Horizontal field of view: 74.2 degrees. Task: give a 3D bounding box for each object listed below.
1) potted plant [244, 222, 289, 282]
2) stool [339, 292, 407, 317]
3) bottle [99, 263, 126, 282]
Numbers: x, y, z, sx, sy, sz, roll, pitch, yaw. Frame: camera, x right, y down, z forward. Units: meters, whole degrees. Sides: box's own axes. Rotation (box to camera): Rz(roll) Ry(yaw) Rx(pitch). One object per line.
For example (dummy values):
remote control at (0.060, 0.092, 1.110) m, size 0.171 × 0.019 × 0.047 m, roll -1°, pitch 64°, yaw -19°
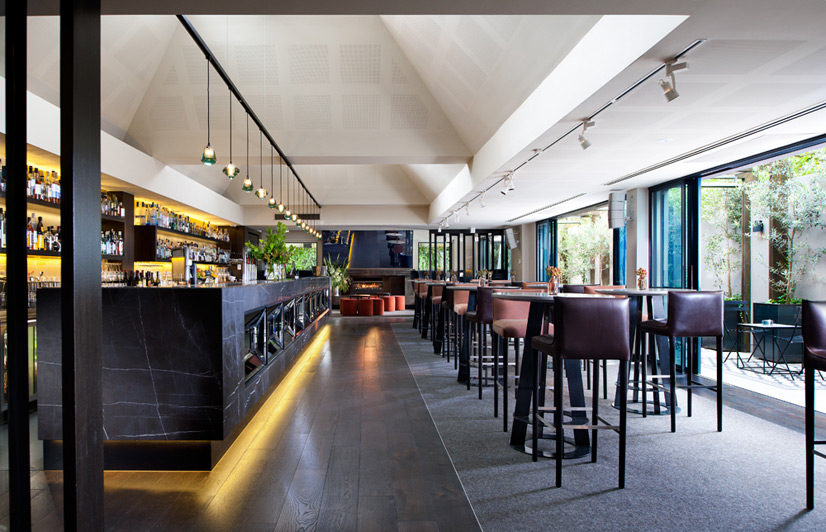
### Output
potted plant at (-1.928, -0.200, 7.438) m, size 0.495 × 0.789 × 0.768 m, roll -1°, pitch -1°, yaw -12°
stool at (-1.176, 1.133, 15.580) m, size 1.025 × 0.516 × 2.149 m, roll -1°, pitch -1°, yaw 27°
bottle at (-4.021, 0.097, 7.276) m, size 0.208 × 0.087 × 0.291 m, roll 4°, pitch 12°, yaw -12°
